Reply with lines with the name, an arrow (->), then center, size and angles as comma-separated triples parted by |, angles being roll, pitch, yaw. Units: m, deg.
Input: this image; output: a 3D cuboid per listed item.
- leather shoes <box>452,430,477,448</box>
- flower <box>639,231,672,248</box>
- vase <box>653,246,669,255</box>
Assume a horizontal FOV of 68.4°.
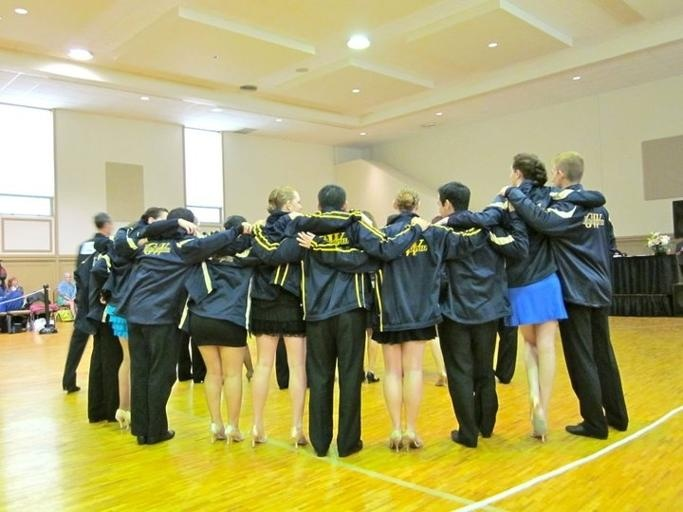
leather shoes -> 0.900, 1.353, 3.750 | 0.074, 0.127, 0.184 | -4, 13, -27
flower -> 6.407, -0.301, 10.255 | 0.539, 0.367, 0.540 | 2, -5, 9
vase -> 6.327, -0.101, 10.040 | 0.175, 0.108, 0.175 | -1, -7, 8
